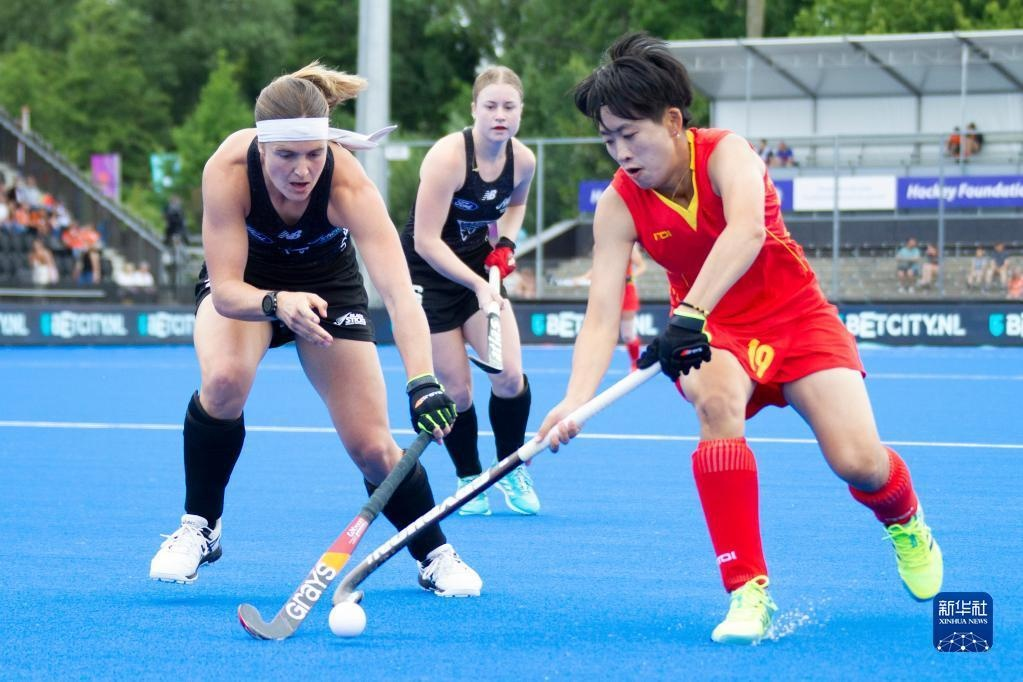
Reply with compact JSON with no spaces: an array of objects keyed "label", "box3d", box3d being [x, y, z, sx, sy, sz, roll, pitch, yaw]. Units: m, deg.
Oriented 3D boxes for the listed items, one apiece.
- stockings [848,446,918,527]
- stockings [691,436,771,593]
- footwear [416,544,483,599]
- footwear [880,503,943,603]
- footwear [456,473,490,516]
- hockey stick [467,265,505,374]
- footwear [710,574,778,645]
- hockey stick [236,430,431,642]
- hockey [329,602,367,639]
[{"label":"stockings","box3d":[2.016,0.819,7.505,0.282,0.421,0.297,-38,22,11]},{"label":"stockings","box3d":[1.135,0.910,7.142,0.369,0.766,0.310,0,12,4]},{"label":"footwear","box3d":[-0.338,1.281,7.559,0.196,0.183,0.397,2,-4,-35]},{"label":"footwear","box3d":[2.197,1.182,7.412,0.205,0.564,0.225,-20,-22,21]},{"label":"footwear","box3d":[-0.245,1.035,8.927,0.156,0.193,0.441,-1,-7,-5]},{"label":"hockey stick","box3d":[-0.149,-0.125,8.952,0.131,0.219,0.926,5,37,-1]},{"label":"footwear","box3d":[1.188,1.382,7.024,0.297,0.314,0.196,1,12,8]},{"label":"hockey stick","box3d":[-1.017,1.163,7.876,1.420,0.280,0.111,-49,-3,-35]},{"label":"hockey","box3d":[-0.842,1.435,7.121,0.184,0.179,0.180,-51,-1,-20]}]
